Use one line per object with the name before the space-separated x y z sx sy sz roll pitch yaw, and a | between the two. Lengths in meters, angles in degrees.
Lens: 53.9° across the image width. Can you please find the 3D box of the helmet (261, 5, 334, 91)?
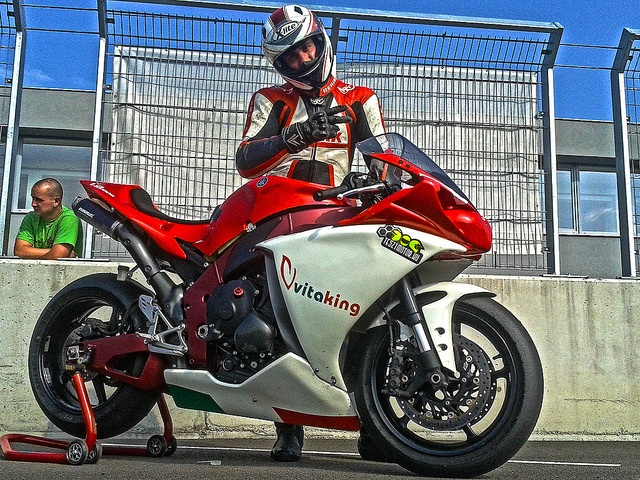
helmet | -0.178 -1.193 3.911 0.415 0.384 0.487 44 17 -37
